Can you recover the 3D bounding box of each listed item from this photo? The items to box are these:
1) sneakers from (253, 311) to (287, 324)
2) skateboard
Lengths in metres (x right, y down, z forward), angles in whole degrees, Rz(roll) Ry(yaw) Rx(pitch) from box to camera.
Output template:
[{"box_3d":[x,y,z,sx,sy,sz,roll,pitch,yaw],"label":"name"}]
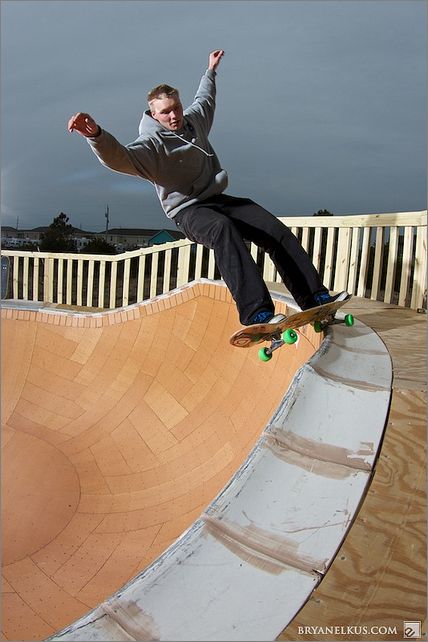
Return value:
[{"box_3d":[0.374,-0.028,3.670,0.221,0.073,0.089,8,47,3],"label":"sneakers"},{"box_3d":[0.621,-0.003,3.841,1.272,0.375,0.216,-9,53,-37],"label":"skateboard"}]
